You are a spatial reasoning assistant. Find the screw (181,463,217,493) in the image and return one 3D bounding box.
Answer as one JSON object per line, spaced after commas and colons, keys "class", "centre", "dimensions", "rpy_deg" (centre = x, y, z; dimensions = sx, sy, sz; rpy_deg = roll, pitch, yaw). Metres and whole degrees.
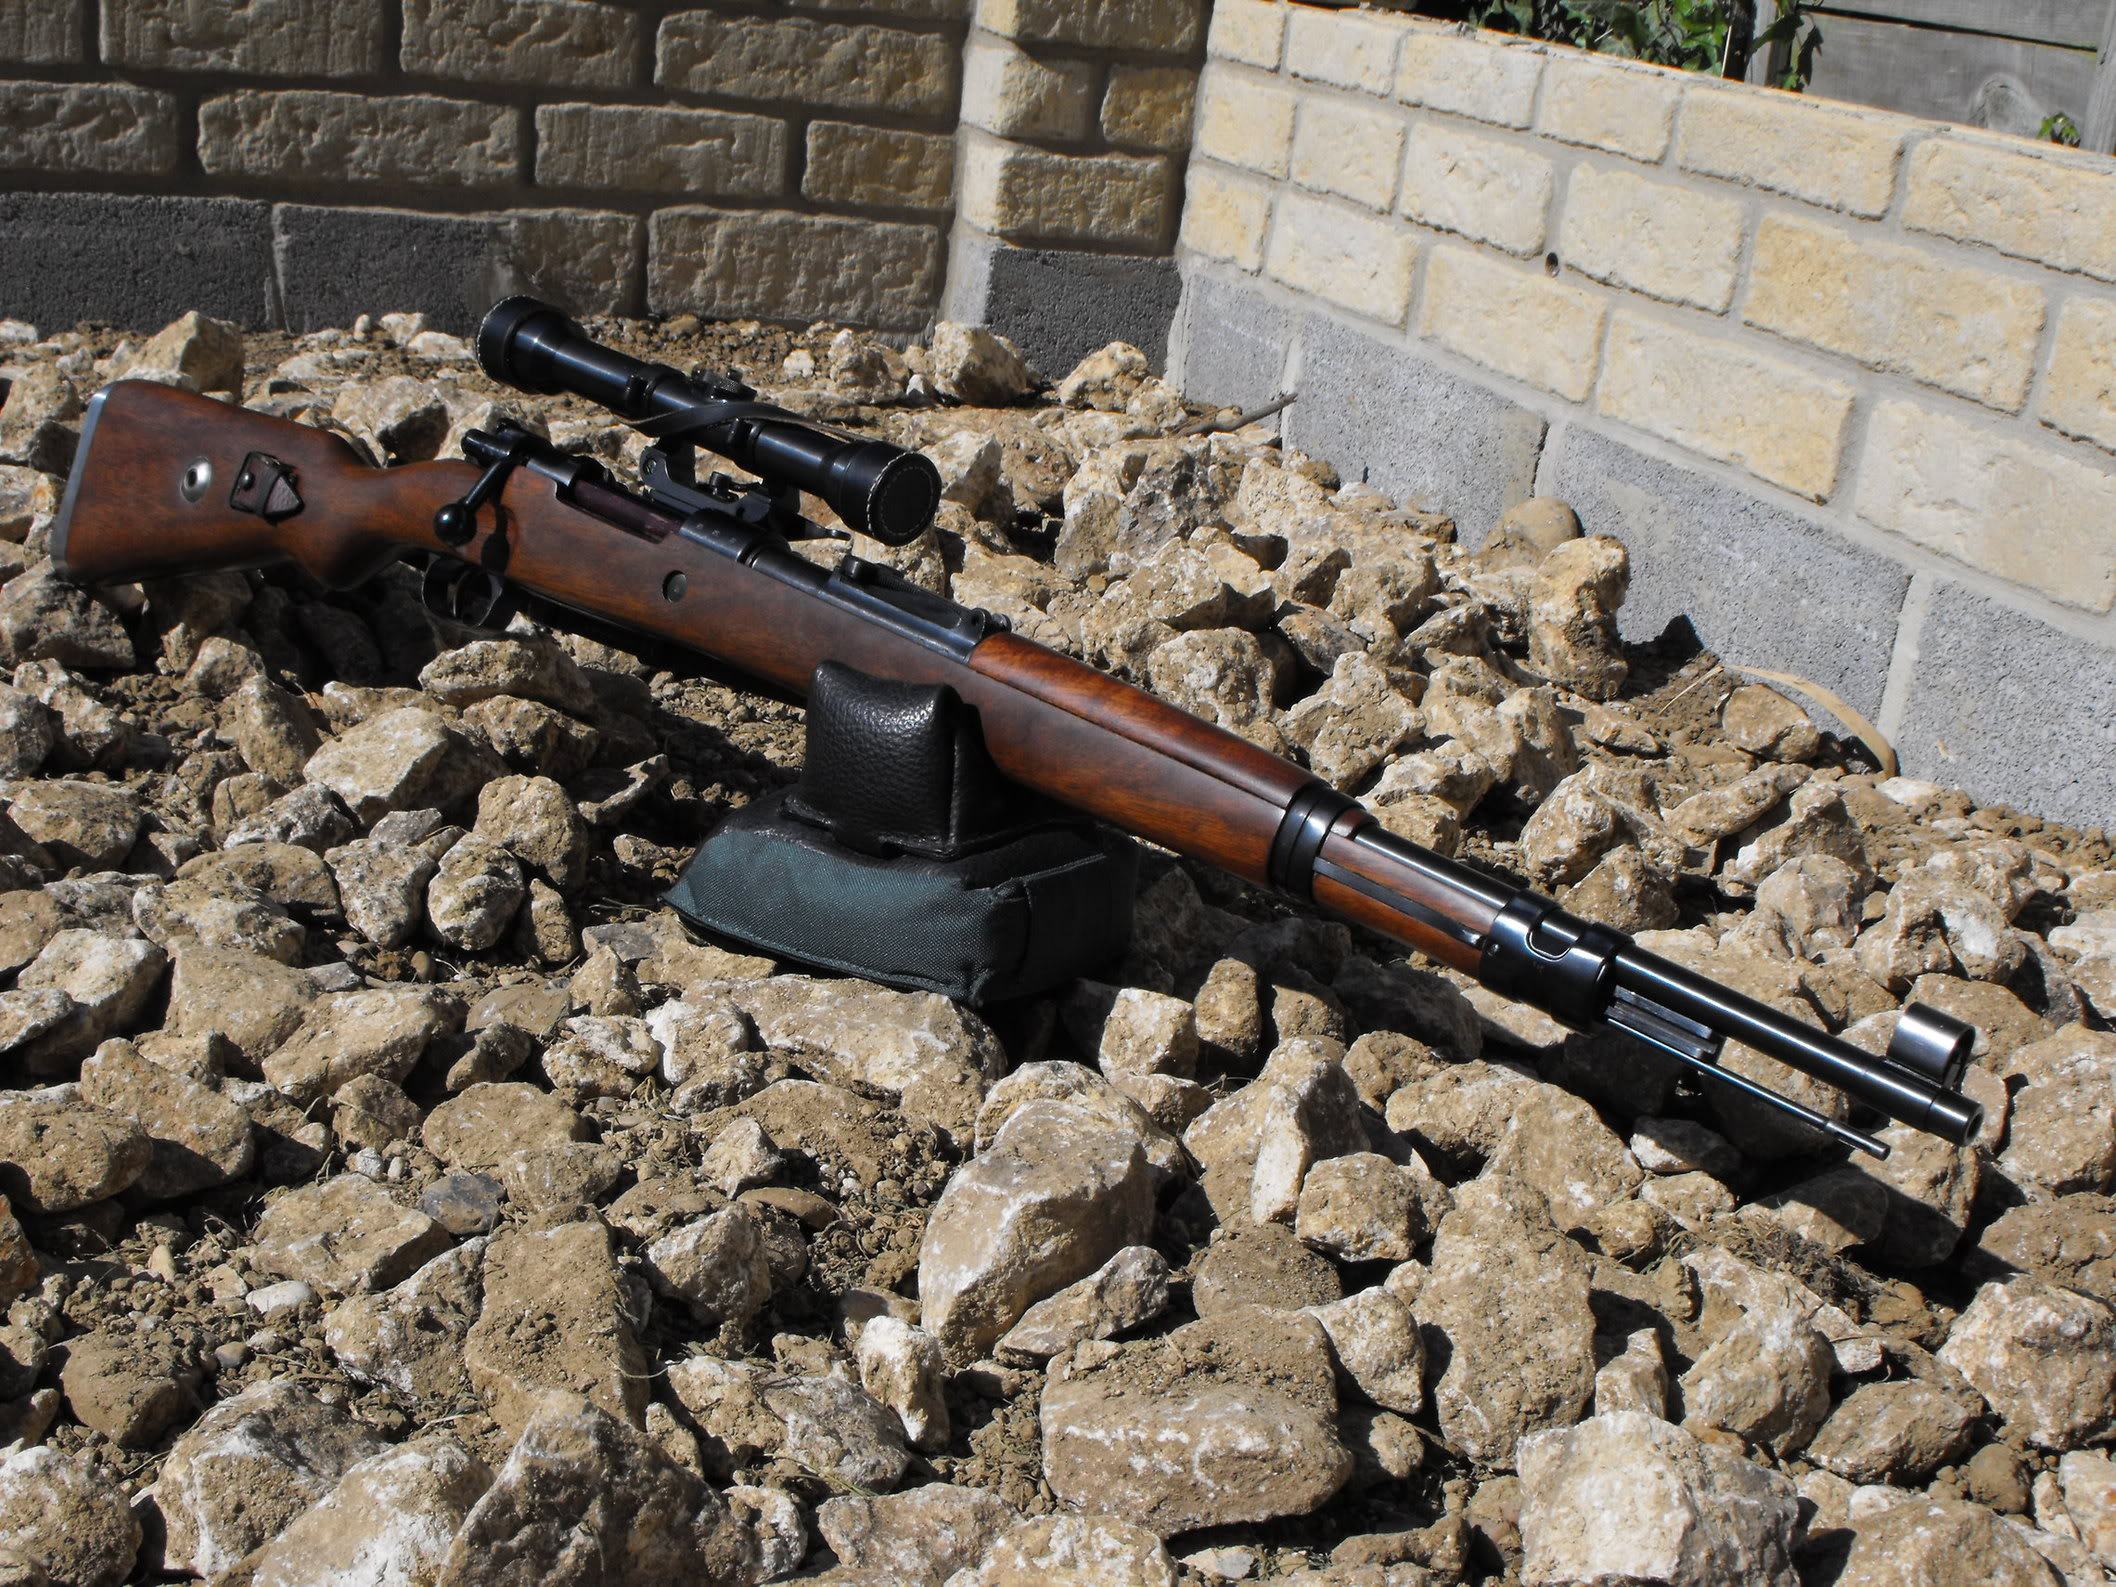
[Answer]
{"class": "screw", "centre": [-1.551, -0.567, 3.480], "dimensions": [0.054, 0.052, 0.014], "rpy_deg": [-5, 6, 20]}
